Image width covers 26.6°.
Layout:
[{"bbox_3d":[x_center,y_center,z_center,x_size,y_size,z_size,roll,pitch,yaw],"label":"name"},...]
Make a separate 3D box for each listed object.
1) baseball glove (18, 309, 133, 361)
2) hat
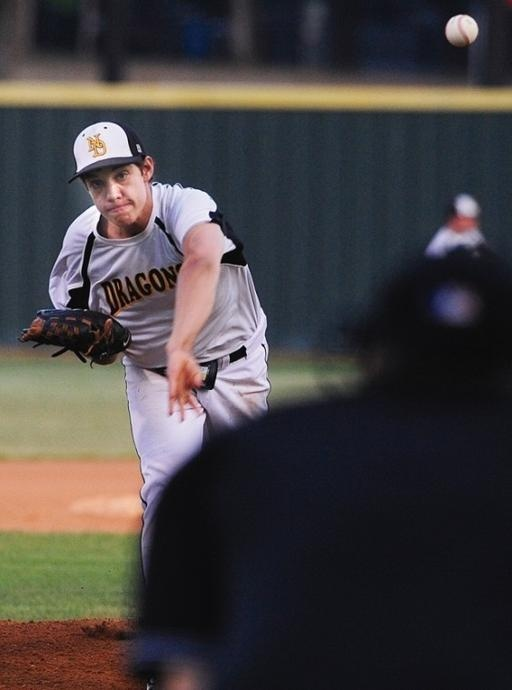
[{"bbox_3d":[-0.506,-0.035,3.161,0.273,0.157,0.103,12,15,13],"label":"baseball glove"},{"bbox_3d":[-0.396,-0.516,2.881,0.148,0.101,0.195,-17,10,23],"label":"hat"}]
